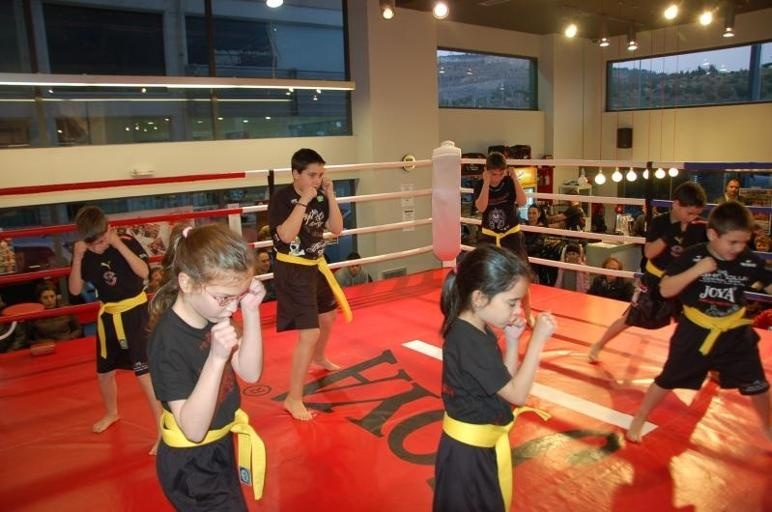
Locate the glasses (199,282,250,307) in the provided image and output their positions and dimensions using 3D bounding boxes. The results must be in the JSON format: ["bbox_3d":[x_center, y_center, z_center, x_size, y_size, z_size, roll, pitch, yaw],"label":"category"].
[{"bbox_3d":[-0.726,0.171,2.266,0.144,0.044,0.140,7,11,43],"label":"glasses"}]

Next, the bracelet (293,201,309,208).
[{"bbox_3d":[-0.603,-0.378,3.662,0.084,0.057,0.160,-3,14,-8],"label":"bracelet"}]

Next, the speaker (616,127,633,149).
[{"bbox_3d":[5.613,-2.784,11.944,0.154,0.472,0.379,-10,16,-32],"label":"speaker"}]

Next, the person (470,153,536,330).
[{"bbox_3d":[1.140,-0.172,4.821,0.478,1.449,0.380,-4,-2,25],"label":"person"}]

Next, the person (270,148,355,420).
[{"bbox_3d":[-0.596,0.151,3.763,0.554,1.846,0.869,3,14,17],"label":"person"}]

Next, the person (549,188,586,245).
[{"bbox_3d":[3.938,-0.837,10.989,0.723,1.263,0.550,1,32,30],"label":"person"}]
